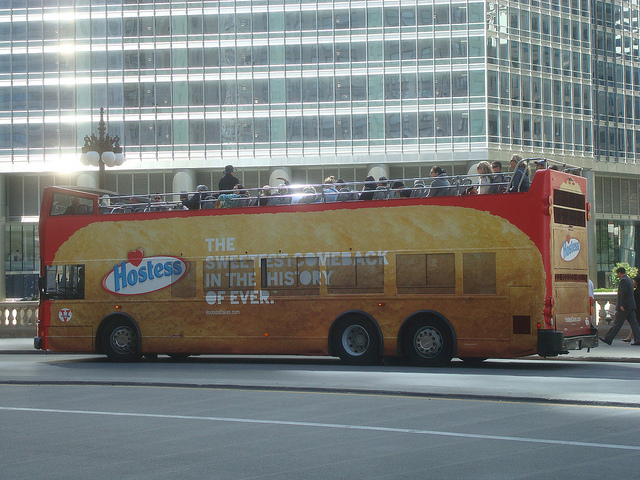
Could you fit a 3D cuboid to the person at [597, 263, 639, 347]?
[{"bbox_3d":[11.419,2.514,49.073,1.396,3.318,1.091,0,0,4],"label":"person"}]
